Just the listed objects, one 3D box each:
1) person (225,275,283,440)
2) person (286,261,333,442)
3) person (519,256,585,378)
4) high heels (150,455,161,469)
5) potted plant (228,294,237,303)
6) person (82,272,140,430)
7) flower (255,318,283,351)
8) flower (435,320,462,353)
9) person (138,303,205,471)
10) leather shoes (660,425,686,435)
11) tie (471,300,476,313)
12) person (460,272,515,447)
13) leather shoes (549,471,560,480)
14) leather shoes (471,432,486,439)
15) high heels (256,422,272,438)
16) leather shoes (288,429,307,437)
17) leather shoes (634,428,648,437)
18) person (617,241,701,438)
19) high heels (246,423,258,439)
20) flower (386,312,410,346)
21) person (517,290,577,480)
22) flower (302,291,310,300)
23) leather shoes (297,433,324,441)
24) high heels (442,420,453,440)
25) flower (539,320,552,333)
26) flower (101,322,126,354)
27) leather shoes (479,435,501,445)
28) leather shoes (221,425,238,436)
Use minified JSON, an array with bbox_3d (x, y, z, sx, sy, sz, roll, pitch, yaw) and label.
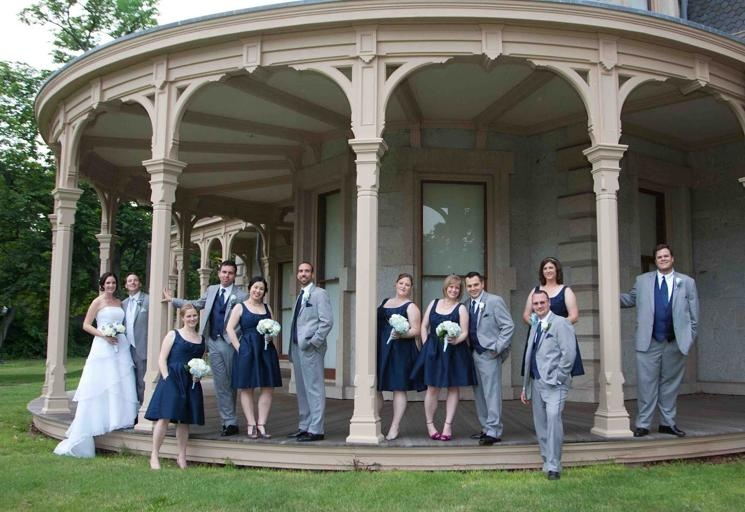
[{"bbox_3d":[-1.644,1.384,10.598,0.747,2.183,0.543,2,-9,-10],"label":"person"},{"bbox_3d":[-0.858,1.414,10.577,0.651,2.154,0.389,-2,-9,13],"label":"person"},{"bbox_3d":[2.454,0.972,10.613,0.829,1.844,0.811,0,16,16],"label":"person"},{"bbox_3d":[-2.918,2.741,10.314,0.153,0.174,0.340,3,-9,-17],"label":"high heels"},{"bbox_3d":[-1.993,0.613,10.913,0.093,0.090,0.079,0,-7,26],"label":"potted plant"},{"bbox_3d":[-3.887,1.430,11.369,0.857,2.414,0.610,3,-9,-19],"label":"person"},{"bbox_3d":[-1.451,1.062,10.530,0.297,0.392,0.332,2,-9,-10],"label":"flower"},{"bbox_3d":[1.018,1.078,10.371,0.322,0.403,0.246,-2,-9,11],"label":"flower"},{"bbox_3d":[-2.654,1.752,10.458,0.742,2.174,0.498,-1,-9,9],"label":"person"},{"bbox_3d":[4.129,2.407,10.635,0.354,0.158,0.122,-4,-5,29],"label":"leather shoes"},{"bbox_3d":[1.382,0.698,10.554,0.030,0.140,0.074,14,-18,-41],"label":"tie"},{"bbox_3d":[1.604,1.488,10.441,0.591,2.063,0.331,-1,-9,6],"label":"person"},{"bbox_3d":[2.311,2.774,9.795,0.174,0.098,0.170,-2,-9,11],"label":"leather shoes"},{"bbox_3d":[1.443,2.428,10.468,0.073,0.089,0.216,3,-4,-29],"label":"leather shoes"},{"bbox_3d":[-1.508,2.406,10.715,0.192,0.200,0.462,1,-9,-7],"label":"high heels"},{"bbox_3d":[-1.050,2.435,10.587,0.281,0.118,0.101,2,-3,-5],"label":"leather shoes"},{"bbox_3d":[3.683,2.428,10.600,0.250,0.104,0.084,8,-10,-35],"label":"leather shoes"},{"bbox_3d":[4.078,1.178,10.756,0.887,2.605,0.420,-3,-9,21],"label":"person"},{"bbox_3d":[-1.656,2.395,10.581,0.126,0.150,0.374,1,-13,-7],"label":"high heels"},{"bbox_3d":[0.336,0.987,10.468,0.322,0.385,0.254,-1,-9,9],"label":"flower"},{"bbox_3d":[2.290,1.642,9.958,0.703,2.384,0.374,-2,-9,13],"label":"person"},{"bbox_3d":[-0.921,0.552,10.608,0.085,0.091,0.021,-2,-12,19],"label":"flower"},{"bbox_3d":[-0.843,2.448,10.431,0.342,0.153,0.130,7,-11,-7],"label":"leather shoes"},{"bbox_3d":[1.019,2.374,10.512,0.149,0.221,0.513,-1,-13,7],"label":"high heels"},{"bbox_3d":[2.232,0.909,9.967,0.126,0.135,0.042,-6,-10,31],"label":"flower"},{"bbox_3d":[-3.766,1.177,11.251,0.376,0.405,0.386,2,-10,-15],"label":"flower"},{"bbox_3d":[1.534,2.413,10.220,0.120,0.119,0.313,-1,-3,39],"label":"leather shoes"},{"bbox_3d":[-1.983,2.431,10.747,0.097,0.121,0.282,-5,-15,37],"label":"leather shoes"}]
